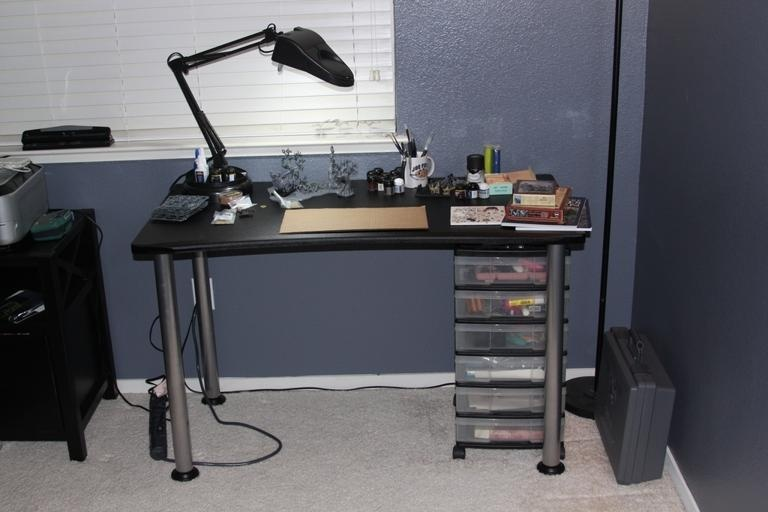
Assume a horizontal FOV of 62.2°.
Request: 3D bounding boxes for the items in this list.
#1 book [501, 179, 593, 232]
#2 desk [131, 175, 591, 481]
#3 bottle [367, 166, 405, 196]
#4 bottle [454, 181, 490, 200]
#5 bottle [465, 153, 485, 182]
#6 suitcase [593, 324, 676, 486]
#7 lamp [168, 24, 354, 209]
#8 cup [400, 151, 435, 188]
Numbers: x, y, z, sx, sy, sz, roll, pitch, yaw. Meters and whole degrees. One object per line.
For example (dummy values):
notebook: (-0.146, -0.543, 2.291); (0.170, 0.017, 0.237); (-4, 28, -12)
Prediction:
book: (0.678, -0.193, 2.685); (0.354, 0.137, 0.312); (1, 18, 12)
desk: (-0.106, 0.358, 3.040); (1.815, 1.033, 0.918); (-2, 14, -2)
bottle: (0.009, -0.346, 2.986); (0.137, 0.060, 0.170); (1, 16, 0)
bottle: (0.397, -0.296, 2.887); (0.126, 0.056, 0.076); (4, 17, -2)
bottle: (0.422, -0.407, 2.966); (0.124, 0.155, 0.118); (0, 10, 0)
suitcase: (1.110, 0.677, 2.791); (0.229, 0.603, 0.574); (-3, 18, 6)
lamp: (-0.579, -0.660, 2.949); (0.833, 0.730, 0.353); (0, 22, 2)
cup: (0.158, -0.395, 2.983); (0.193, 0.164, 0.117); (-8, 17, -27)
